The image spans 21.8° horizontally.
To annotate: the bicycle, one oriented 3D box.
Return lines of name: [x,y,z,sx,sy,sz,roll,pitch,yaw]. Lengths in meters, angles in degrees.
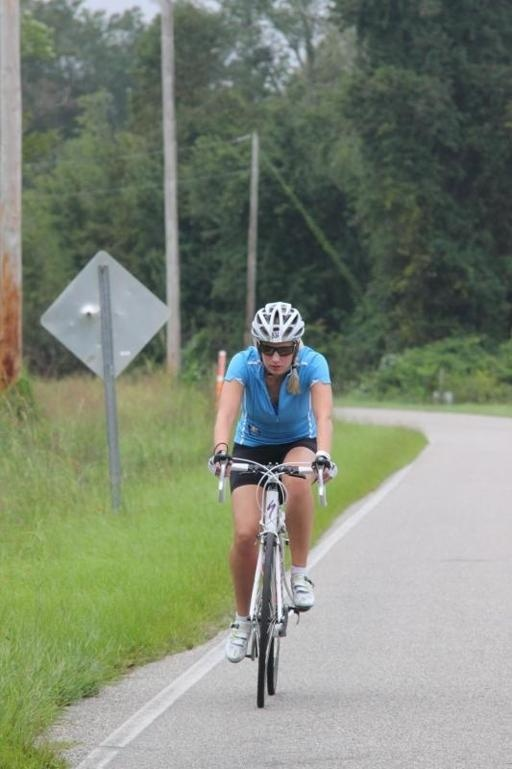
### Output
bicycle: [0.068,0.958,6.742,0.633,1.236,1.124,2,4,4]

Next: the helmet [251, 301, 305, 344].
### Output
helmet: [0.104,-0.309,6.821,0.254,0.208,0.315,2,4,0]

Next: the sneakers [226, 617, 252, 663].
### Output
sneakers: [-0.093,1.284,6.660,0.076,0.134,0.271,3,8,2]

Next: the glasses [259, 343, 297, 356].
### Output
glasses: [0.104,-0.171,6.824,0.188,0.066,0.110,2,4,4]
